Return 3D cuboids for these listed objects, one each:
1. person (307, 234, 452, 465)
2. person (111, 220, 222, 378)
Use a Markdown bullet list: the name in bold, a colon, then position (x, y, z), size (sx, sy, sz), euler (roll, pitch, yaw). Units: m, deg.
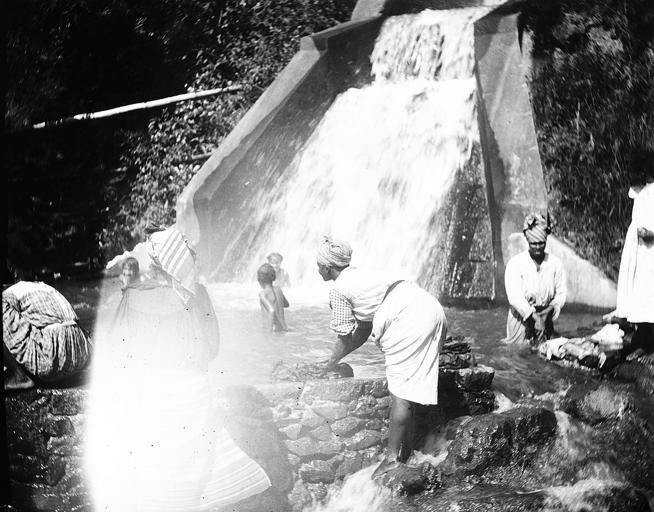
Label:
- **person**: position (0.405, 0.804, 4.705), size (0.957, 1.813, 0.419), euler (5, 3, 9)
- **person**: position (-1.569, 0.489, 5.516), size (0.868, 1.442, 0.883), euler (0, 16, -34)
